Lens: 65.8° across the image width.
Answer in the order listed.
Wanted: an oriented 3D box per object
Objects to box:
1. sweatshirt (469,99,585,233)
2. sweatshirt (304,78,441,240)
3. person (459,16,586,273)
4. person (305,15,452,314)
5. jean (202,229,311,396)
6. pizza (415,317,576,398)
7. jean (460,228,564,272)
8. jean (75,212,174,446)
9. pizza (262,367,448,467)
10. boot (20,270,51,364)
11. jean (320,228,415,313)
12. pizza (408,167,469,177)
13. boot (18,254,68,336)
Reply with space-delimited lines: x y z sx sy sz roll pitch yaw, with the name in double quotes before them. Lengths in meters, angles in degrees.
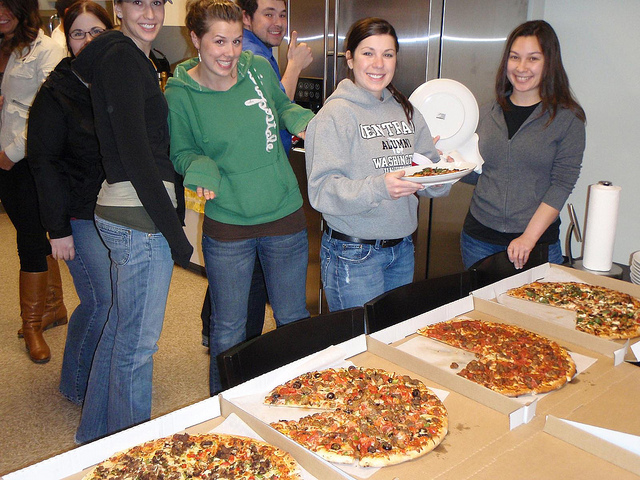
"sweatshirt" 1.090 -0.418 2.743 0.658 0.748 0.345 18 19 41
"sweatshirt" 0.281 -0.380 2.293 0.762 0.725 0.484 -5 7 -25
"person" 1.074 -0.454 2.637 0.538 1.309 0.531 -13 23 -27
"person" 0.294 -0.342 2.337 0.616 1.293 0.831 4 22 14
"jean" -0.328 0.301 2.649 0.536 1.238 0.316 -5 25 -16
"pizza" 0.665 0.314 1.838 0.512 0.156 0.545 17 22 41
"jean" 1.103 -0.034 2.931 0.602 0.249 0.496 -14 20 -42
"jean" -0.898 0.395 2.321 0.417 1.122 0.362 11 10 34
"pizza" 0.146 0.465 1.599 0.547 0.159 0.593 8 17 23
"boot" -1.919 0.523 3.332 0.162 0.584 0.277 -4 20 -18
"jean" 0.226 0.137 2.315 0.432 0.382 0.198 -1 21 2
"pizza" 0.489 -0.283 2.041 0.153 0.019 0.202 18 29 40
"boot" -1.947 0.402 3.444 0.274 0.577 0.324 -3 20 -17
